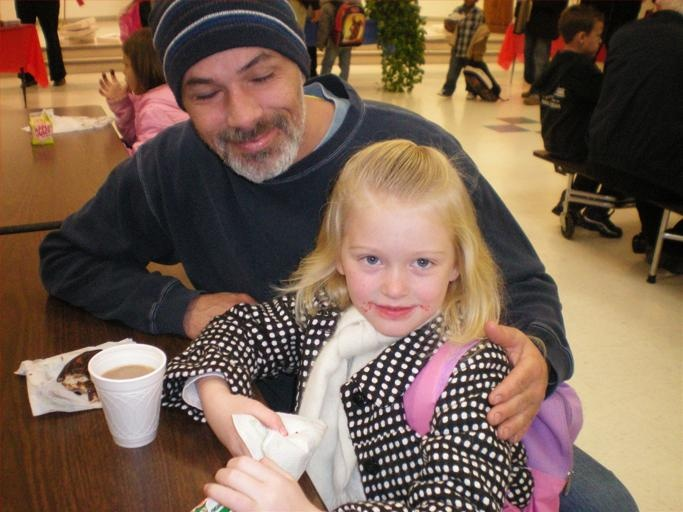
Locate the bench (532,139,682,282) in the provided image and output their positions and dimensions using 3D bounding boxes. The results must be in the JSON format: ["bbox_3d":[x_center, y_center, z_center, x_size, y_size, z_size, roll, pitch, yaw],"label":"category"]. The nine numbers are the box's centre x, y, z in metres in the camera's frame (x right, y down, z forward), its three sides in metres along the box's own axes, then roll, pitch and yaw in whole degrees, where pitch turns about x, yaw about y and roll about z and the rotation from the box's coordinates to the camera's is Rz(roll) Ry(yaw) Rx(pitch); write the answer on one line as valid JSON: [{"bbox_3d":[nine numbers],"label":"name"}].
[{"bbox_3d":[1.866,-0.321,3.836,0.805,0.465,1.350,20,30,9],"label":"bench"}]

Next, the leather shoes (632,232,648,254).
[{"bbox_3d":[2.073,-0.089,3.759,0.080,0.120,0.117,-8,15,4],"label":"leather shoes"}]
